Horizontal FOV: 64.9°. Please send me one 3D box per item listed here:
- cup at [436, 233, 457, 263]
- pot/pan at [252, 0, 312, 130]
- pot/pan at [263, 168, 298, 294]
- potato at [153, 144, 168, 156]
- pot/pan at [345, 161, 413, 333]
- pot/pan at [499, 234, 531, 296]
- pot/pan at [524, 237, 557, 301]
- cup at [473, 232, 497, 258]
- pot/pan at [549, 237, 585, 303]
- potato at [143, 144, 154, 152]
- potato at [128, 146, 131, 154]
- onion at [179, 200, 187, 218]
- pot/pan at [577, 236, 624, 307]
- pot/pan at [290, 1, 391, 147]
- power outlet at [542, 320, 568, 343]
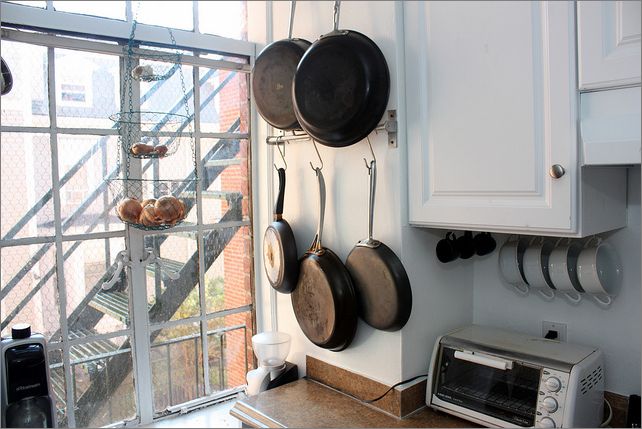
[{"bbox_3d":[0.548,0.155,2.184,0.077,0.142,0.053,-10,-15,37],"label":"cup"},{"bbox_3d":[-0.179,-0.693,2.438,0.334,0.578,0.079,7,8,43],"label":"pot/pan"},{"bbox_3d":[-0.195,0.095,2.433,0.069,0.528,0.277,0,-1,-22],"label":"pot/pan"},{"bbox_3d":[-0.744,-0.295,2.316,0.063,0.052,0.030,-4,9,-30],"label":"potato"},{"bbox_3d":[0.256,0.130,2.161,0.090,0.661,0.336,-6,-4,-38],"label":"pot/pan"},{"bbox_3d":[0.832,0.213,2.205,0.091,0.247,0.156,-2,-9,14],"label":"pot/pan"},{"bbox_3d":[0.912,0.228,2.133,0.085,0.256,0.155,-2,-10,19],"label":"pot/pan"},{"bbox_3d":[0.730,0.125,2.230,0.074,0.121,0.043,1,-1,16],"label":"cup"},{"bbox_3d":[0.993,0.221,2.061,0.079,0.233,0.138,-3,-22,9],"label":"pot/pan"},{"bbox_3d":[-0.791,-0.302,2.290,0.026,0.044,0.015,6,-2,-1],"label":"potato"},{"bbox_3d":[-0.876,-0.298,2.297,0.015,0.025,0.007,-14,-6,35],"label":"potato"},{"bbox_3d":[-0.633,-0.028,2.301,0.020,0.062,0.036,2,39,-1],"label":"onion"},{"bbox_3d":[1.115,0.218,2.011,0.081,0.248,0.185,-5,-15,35],"label":"pot/pan"},{"bbox_3d":[0.077,-0.537,2.118,0.373,0.628,0.087,0,0,39],"label":"pot/pan"},{"bbox_3d":[1.017,0.498,2.168,0.009,0.093,0.082,8,-9,-42],"label":"power outlet"}]
